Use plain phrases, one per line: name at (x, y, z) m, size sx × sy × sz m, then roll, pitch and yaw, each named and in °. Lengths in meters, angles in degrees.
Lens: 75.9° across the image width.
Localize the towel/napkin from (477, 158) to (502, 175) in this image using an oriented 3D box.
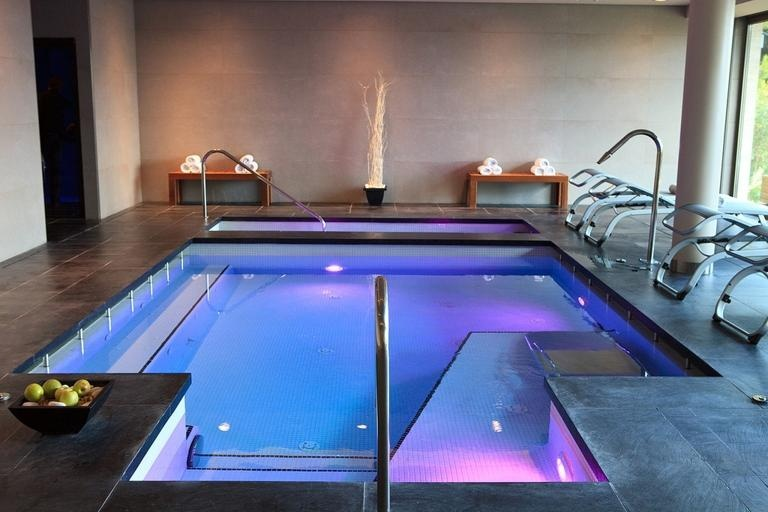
towel/napkin at (2.102, -1.729, 9.691) m, size 0.428 × 0.170 × 0.386 m, roll 0°, pitch 54°, yaw 4°

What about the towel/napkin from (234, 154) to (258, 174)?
towel/napkin at (-2.669, -1.799, 9.535) m, size 0.447 × 0.321 × 0.512 m, roll -4°, pitch 18°, yaw -7°

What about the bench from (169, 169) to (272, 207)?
bench at (-3.175, -1.354, 9.646) m, size 1.936 × 0.681 × 0.586 m, roll -2°, pitch 18°, yaw -1°

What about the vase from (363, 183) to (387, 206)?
vase at (-0.163, -1.175, 9.457) m, size 0.483 × 0.344 × 0.375 m, roll 0°, pitch 4°, yaw 2°
